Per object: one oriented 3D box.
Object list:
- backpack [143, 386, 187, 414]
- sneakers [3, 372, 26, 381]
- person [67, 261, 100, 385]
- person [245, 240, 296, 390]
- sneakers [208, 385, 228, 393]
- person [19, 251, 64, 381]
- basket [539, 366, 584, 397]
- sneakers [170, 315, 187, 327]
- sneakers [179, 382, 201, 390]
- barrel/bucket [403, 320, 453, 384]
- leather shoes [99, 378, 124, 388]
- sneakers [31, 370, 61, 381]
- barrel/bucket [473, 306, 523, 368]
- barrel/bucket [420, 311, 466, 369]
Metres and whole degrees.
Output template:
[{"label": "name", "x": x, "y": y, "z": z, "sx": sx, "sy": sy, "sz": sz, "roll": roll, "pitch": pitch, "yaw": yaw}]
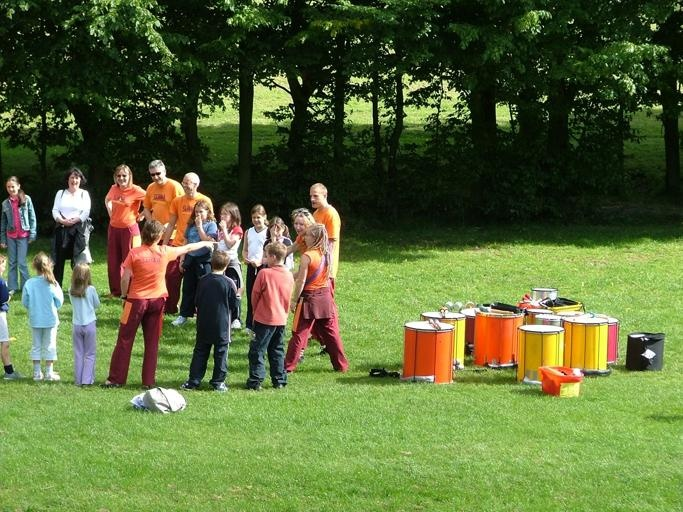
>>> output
[{"label": "backpack", "x": -3.702, "y": 3.000, "z": 33.006, "sx": 0.523, "sy": 0.237, "sz": 0.679, "roll": 32, "pitch": 19, "yaw": 35}, {"label": "sneakers", "x": -7.109, "y": 2.612, "z": 34.398, "sx": 0.427, "sy": 0.169, "sz": 0.164, "roll": 1, "pitch": -2, "yaw": -4}, {"label": "person", "x": -5.563, "y": 1.460, "z": 34.265, "sx": 0.592, "sy": 2.660, "sz": 0.390, "roll": -1, "pitch": 1, "yaw": -12}, {"label": "person", "x": -1.544, "y": 1.291, "z": 34.224, "sx": 0.997, "sy": 3.188, "sz": 0.493, "roll": 0, "pitch": 1, "yaw": -2}, {"label": "sneakers", "x": -2.623, "y": 2.857, "z": 34.131, "sx": 0.291, "sy": 0.114, "sz": 0.170, "roll": 0, "pitch": 1, "yaw": 14}, {"label": "person", "x": -6.474, "y": 1.315, "z": 34.351, "sx": 0.840, "sy": 2.804, "sz": 0.435, "roll": 0, "pitch": 1, "yaw": -11}, {"label": "basket", "x": 4.719, "y": 2.726, "z": 34.354, "sx": 0.646, "sy": 0.479, "sz": 0.764, "roll": 2, "pitch": -3, "yaw": -24}, {"label": "sneakers", "x": -3.861, "y": 1.546, "z": 37.513, "sx": 0.164, "sy": 0.176, "sz": 0.431, "roll": 14, "pitch": 16, "yaw": 38}, {"label": "sneakers", "x": -3.267, "y": 2.798, "z": 34.121, "sx": 0.307, "sy": 0.129, "sz": 0.161, "roll": 7, "pitch": 0, "yaw": 3}, {"label": "barrel/bucket", "x": 2.012, "y": 2.090, "z": 35.270, "sx": 1.302, "sy": 1.232, "sz": 1.289, "roll": 1, "pitch": 2, "yaw": 0}, {"label": "leather shoes", "x": -4.949, "y": 2.742, "z": 34.131, "sx": 0.463, "sy": 0.132, "sz": 0.177, "roll": 4, "pitch": -3, "yaw": -8}, {"label": "sneakers", "x": -6.414, "y": 2.598, "z": 34.408, "sx": 0.629, "sy": 0.270, "sz": 0.221, "roll": -1, "pitch": 0, "yaw": 0}, {"label": "barrel/bucket", "x": 3.458, "y": 1.865, "z": 35.614, "sx": 1.237, "sy": 1.180, "sz": 1.202, "roll": 2, "pitch": 0, "yaw": 0}, {"label": "barrel/bucket", "x": 2.323, "y": 1.847, "z": 35.575, "sx": 1.256, "sy": 1.201, "sz": 1.234, "roll": 1, "pitch": 2, "yaw": 0}]
